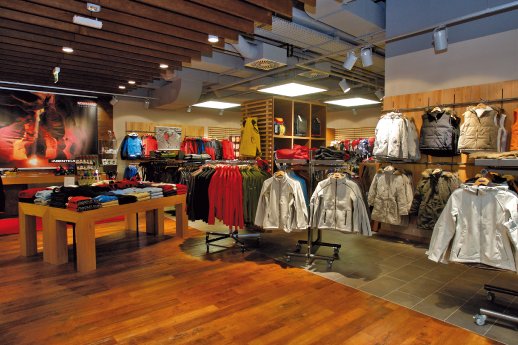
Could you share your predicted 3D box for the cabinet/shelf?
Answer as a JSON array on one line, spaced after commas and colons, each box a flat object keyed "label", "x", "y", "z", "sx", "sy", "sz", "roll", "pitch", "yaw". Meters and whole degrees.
[{"label": "cabinet/shelf", "x": 1.081, "y": -1.326, "z": 9.781, "sx": 2.204, "sy": 1.511, "sz": 0.661, "roll": -1, "pitch": 5, "yaw": -36}]

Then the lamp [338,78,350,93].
[{"label": "lamp", "x": 2.235, "y": -2.282, "z": 8.402, "sx": 0.198, "sy": 0.413, "sz": 0.590, "roll": 2, "pitch": 5, "yaw": 17}]

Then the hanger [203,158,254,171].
[{"label": "hanger", "x": -0.609, "y": -0.165, "z": 6.478, "sx": 0.965, "sy": 0.158, "sz": 0.876, "roll": -1, "pitch": 4, "yaw": -16}]

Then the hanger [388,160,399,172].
[{"label": "hanger", "x": 2.785, "y": -0.124, "z": 6.766, "sx": 0.214, "sy": 0.095, "sz": 0.253, "roll": -16, "pitch": 33, "yaw": 26}]

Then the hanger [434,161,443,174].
[{"label": "hanger", "x": 3.483, "y": -0.093, "z": 6.341, "sx": 0.178, "sy": 0.227, "sz": 0.341, "roll": 3, "pitch": 5, "yaw": 27}]

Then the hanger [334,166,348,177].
[{"label": "hanger", "x": 1.384, "y": -0.012, "z": 5.536, "sx": 0.273, "sy": 0.102, "sz": 0.327, "roll": 1, "pitch": 3, "yaw": 5}]

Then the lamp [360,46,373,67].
[{"label": "lamp", "x": 2.158, "y": -2.314, "z": 6.517, "sx": 0.199, "sy": 0.371, "sz": 0.521, "roll": 2, "pitch": 5, "yaw": 19}]

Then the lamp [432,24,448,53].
[{"label": "lamp", "x": 3.134, "y": -2.292, "z": 5.642, "sx": 0.229, "sy": 0.416, "sz": 0.198, "roll": 4, "pitch": 6, "yaw": 30}]

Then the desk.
[{"label": "desk", "x": -3.189, "y": 0.941, "z": 5.769, "sx": 1.685, "sy": 0.679, "sz": 2.283, "roll": 1, "pitch": 2, "yaw": 31}]

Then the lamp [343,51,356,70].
[{"label": "lamp", "x": 1.884, "y": -2.312, "z": 6.655, "sx": 0.214, "sy": 0.423, "sz": 0.432, "roll": 2, "pitch": 5, "yaw": 17}]
